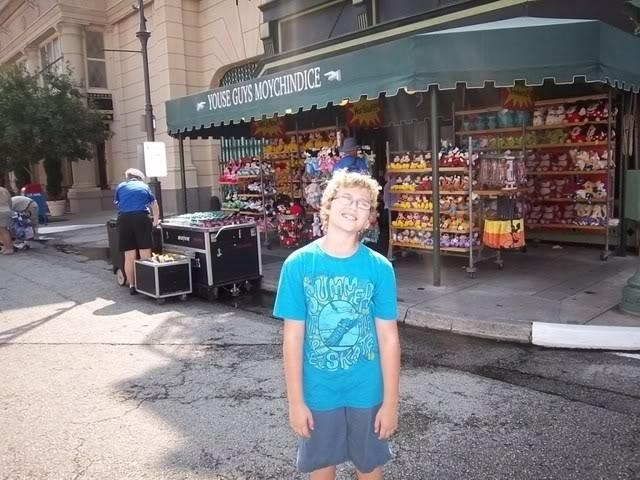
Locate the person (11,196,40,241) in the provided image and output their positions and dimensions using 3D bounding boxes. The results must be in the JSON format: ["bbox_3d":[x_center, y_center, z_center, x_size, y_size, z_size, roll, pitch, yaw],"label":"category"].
[{"bbox_3d":[-9.942,-0.766,15.576,0.692,1.569,1.540,-12,14,-28],"label":"person"}]

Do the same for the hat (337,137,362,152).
[{"bbox_3d":[0.647,-2.182,10.315,0.408,0.325,0.528,-4,12,4],"label":"hat"}]
